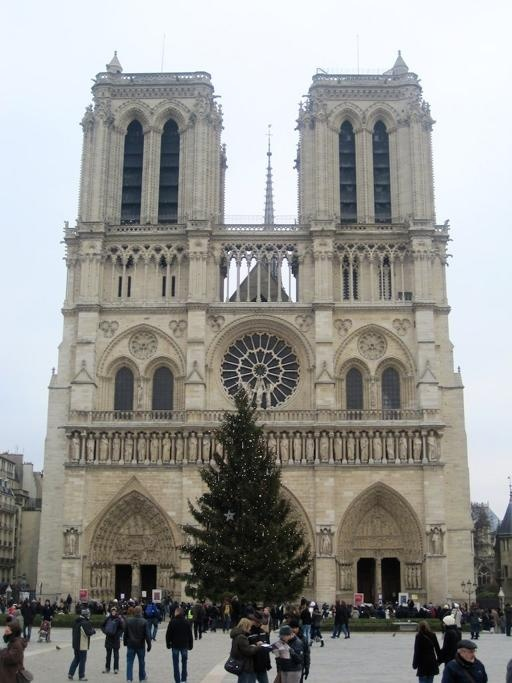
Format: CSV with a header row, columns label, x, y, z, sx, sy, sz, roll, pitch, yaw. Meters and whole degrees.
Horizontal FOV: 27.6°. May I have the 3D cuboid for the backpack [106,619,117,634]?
label,x,y,z,sx,sy,sz,roll,pitch,yaw
backpack,-3.013,5.903,21.487,0.194,0.304,0.382,13,-19,-37

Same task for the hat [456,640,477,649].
label,x,y,z,sx,sy,sz,roll,pitch,yaw
hat,2.490,3.550,12.228,0.174,0.076,0.221,1,-12,18

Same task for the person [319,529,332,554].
label,x,y,z,sx,sy,sz,roll,pitch,yaw
person,3.273,9.415,48.841,0.626,1.266,0.211,0,-15,2

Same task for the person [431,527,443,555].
label,x,y,z,sx,sy,sz,roll,pitch,yaw
person,8.520,9.399,48.986,0.622,1.355,0.245,0,-15,2

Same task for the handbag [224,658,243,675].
label,x,y,z,sx,sy,sz,roll,pitch,yaw
handbag,-0.309,4.550,14.560,0.226,0.221,0.381,1,-14,-2

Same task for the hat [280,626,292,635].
label,x,y,z,sx,sy,sz,roll,pitch,yaw
hat,0.416,3.922,14.113,0.170,0.083,0.117,3,-7,-11
